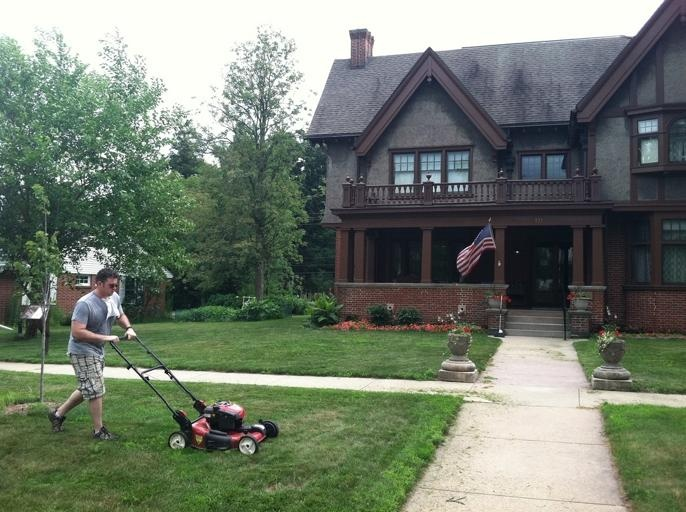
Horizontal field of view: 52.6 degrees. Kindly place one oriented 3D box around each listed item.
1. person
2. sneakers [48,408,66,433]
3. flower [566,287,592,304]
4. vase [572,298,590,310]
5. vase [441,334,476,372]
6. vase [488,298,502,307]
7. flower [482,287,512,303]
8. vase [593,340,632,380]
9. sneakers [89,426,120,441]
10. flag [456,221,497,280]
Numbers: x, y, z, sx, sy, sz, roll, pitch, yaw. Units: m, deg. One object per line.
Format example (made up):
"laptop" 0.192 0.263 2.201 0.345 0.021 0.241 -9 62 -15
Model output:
"person" -4.446 1.708 12.367 1.115 3.004 1.312 -5 7 -42
"sneakers" -5.199 2.972 12.615 0.263 0.560 0.184 -5 1 0
"flower" 8.450 1.373 24.847 0.771 0.569 0.658 2 -3 -38
"vase" 8.468 1.688 24.537 0.440 0.315 0.468 -5 -6 41
"vase" 2.766 2.312 16.835 0.883 0.862 0.834 1 -2 -4
"vase" 5.547 1.675 25.213 0.334 0.254 0.344 -3 -4 39
"flower" 5.609 1.429 25.481 0.706 0.361 0.695 6 6 33
"vase" 6.159 2.343 15.924 0.846 0.893 0.819 2 -4 -5
"sneakers" -4.226 3.119 12.303 0.380 0.174 0.225 2 -1 2
"flag" 5.249 -0.205 26.831 0.327 1.869 1.723 33 -46 -19
